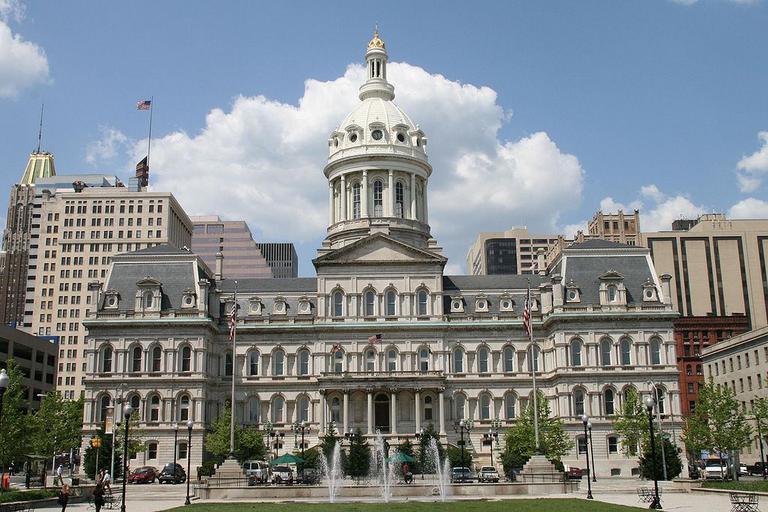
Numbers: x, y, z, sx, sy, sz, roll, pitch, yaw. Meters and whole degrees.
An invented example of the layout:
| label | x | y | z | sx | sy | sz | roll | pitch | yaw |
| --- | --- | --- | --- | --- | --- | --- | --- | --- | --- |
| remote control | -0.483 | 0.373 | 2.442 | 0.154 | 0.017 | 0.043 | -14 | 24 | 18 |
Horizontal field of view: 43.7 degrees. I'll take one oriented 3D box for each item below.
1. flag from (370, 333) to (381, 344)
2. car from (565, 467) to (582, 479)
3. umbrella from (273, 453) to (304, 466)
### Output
| label | x | y | z | sx | sy | sz | roll | pitch | yaw |
| --- | --- | --- | --- | --- | --- | --- | --- | --- | --- |
| flag | -0.954 | 9.990 | 118.696 | 1.430 | 1.493 | 2.811 | -2 | -19 | -1 |
| car | 21.232 | 24.241 | 107.303 | 2.419 | 1.582 | 2.371 | -3 | -18 | 13 |
| umbrella | -10.814 | 22.373 | 105.931 | 2.501 | 1.126 | 2.465 | 13 | -18 | -41 |
